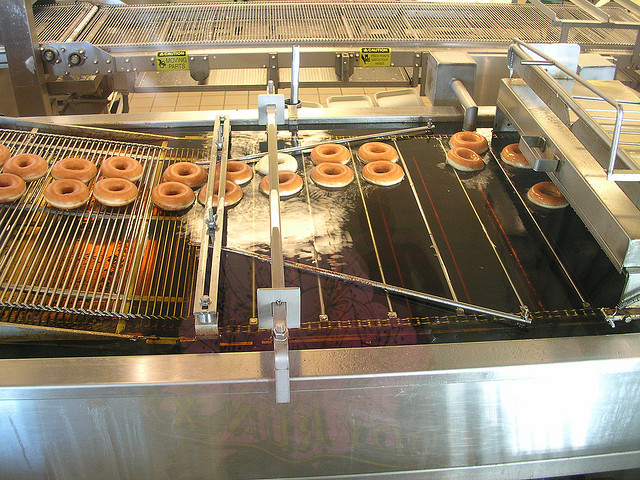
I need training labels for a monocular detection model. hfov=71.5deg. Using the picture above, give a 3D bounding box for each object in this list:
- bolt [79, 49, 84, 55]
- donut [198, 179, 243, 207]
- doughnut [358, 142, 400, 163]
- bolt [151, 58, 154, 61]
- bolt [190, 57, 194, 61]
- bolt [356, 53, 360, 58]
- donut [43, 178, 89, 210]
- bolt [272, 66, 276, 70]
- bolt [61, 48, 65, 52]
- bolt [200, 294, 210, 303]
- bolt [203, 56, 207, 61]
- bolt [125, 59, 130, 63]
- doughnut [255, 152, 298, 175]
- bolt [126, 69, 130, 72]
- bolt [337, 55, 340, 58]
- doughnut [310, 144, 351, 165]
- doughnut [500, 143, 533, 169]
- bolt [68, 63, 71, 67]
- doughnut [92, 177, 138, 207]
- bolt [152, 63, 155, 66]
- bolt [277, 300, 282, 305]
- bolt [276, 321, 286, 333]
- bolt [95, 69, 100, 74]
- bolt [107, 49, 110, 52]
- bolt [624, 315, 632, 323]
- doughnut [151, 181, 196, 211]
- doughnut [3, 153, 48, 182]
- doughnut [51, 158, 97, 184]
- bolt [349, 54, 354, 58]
[{"bbox_3d":[-1.530,-1.205,2.848,0.030,0.030,0.006,0,12,5],"label":"bolt"},{"bbox_3d":[-0.429,-0.202,1.913,0.176,0.108,0.177,-11,16,-40],"label":"donut"},{"bbox_3d":[0.283,-0.428,2.170,0.201,0.096,0.158,-2,12,-5],"label":"doughnut"},{"bbox_3d":[-1.080,-1.162,2.860,0.019,0.015,0.003,0,12,3],"label":"bolt"},{"bbox_3d":[-0.828,-1.167,2.861,0.021,0.020,0.005,3,5,3],"label":"bolt"},{"bbox_3d":[0.249,-1.248,3.006,0.027,0.024,0.006,1,-1,-2],"label":"bolt"},{"bbox_3d":[-1.051,-0.191,1.841,0.150,0.119,0.135,-11,16,-40],"label":"donut"},{"bbox_3d":[-0.312,-1.152,2.967,0.020,0.018,0.004,-2,8,0],"label":"bolt"},{"bbox_3d":[-1.657,-1.223,2.865,0.021,0.019,0.007,2,0,0],"label":"bolt"},{"bbox_3d":[-0.341,0.174,1.315,0.021,0.005,0.020,3,37,-4],"label":"bolt"},{"bbox_3d":[-0.746,-1.170,2.863,0.027,0.025,0.006,6,-1,-7],"label":"bolt"},{"bbox_3d":[-1.244,-1.153,2.865,0.032,0.019,0.006,0,12,4],"label":"bolt"},{"bbox_3d":[-0.190,-0.359,2.079,0.200,0.096,0.178,-9,15,-35],"label":"doughnut"},{"bbox_3d":[-1.257,-1.113,2.918,0.018,0.017,0.006,24,16,-1],"label":"bolt"},{"bbox_3d":[0.120,-1.241,2.995,0.018,0.016,0.004,2,0,-2],"label":"bolt"},{"bbox_3d":[0.047,-0.416,2.154,0.198,0.093,0.129,0,12,5],"label":"doughnut"},{"bbox_3d":[0.927,-0.396,2.119,0.132,0.046,0.127,-1,33,0],"label":"doughnut"},{"bbox_3d":[-1.632,-1.139,2.896,0.016,0.015,0.014,-4,-29,-6],"label":"bolt"},{"bbox_3d":[-0.857,-0.203,1.858,0.145,0.054,0.140,10,34,-7],"label":"doughnut"},{"bbox_3d":[-1.079,-1.135,2.875,0.013,0.014,0.006,0,12,3],"label":"bolt"},{"bbox_3d":[-0.107,0.158,1.144,0.010,0.010,0.003,-1,-31,3],"label":"bolt"},{"bbox_3d":[-0.101,0.220,1.127,0.019,0.006,0.025,-2,48,-6],"label":"bolt"},{"bbox_3d":[-1.459,-1.096,2.898,0.021,0.020,0.036,-10,15,-36],"label":"bolt"},{"bbox_3d":[-1.388,-1.240,2.913,0.012,0.015,0.004,-5,12,-19],"label":"bolt"},{"bbox_3d":[1.031,0.265,1.492,0.024,0.023,0.007,2,-27,8],"label":"bolt"},{"bbox_3d":[-0.621,-0.189,1.923,0.222,0.076,0.213,4,23,-27],"label":"doughnut"},{"bbox_3d":[-1.277,-0.322,1.929,0.140,0.048,0.133,-3,47,-22],"label":"doughnut"},{"bbox_3d":[-1.074,-0.310,1.944,0.129,0.048,0.125,7,30,-5],"label":"doughnut"},{"bbox_3d":[0.207,-1.243,2.997,0.030,0.027,0.007,0,3,-6],"label":"bolt"}]
